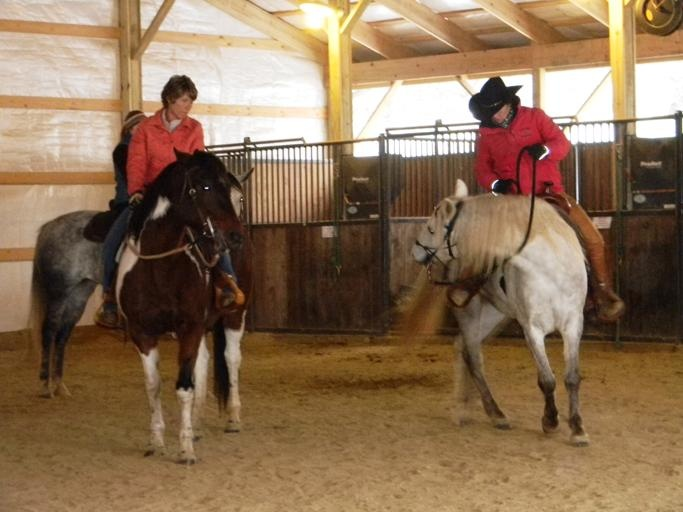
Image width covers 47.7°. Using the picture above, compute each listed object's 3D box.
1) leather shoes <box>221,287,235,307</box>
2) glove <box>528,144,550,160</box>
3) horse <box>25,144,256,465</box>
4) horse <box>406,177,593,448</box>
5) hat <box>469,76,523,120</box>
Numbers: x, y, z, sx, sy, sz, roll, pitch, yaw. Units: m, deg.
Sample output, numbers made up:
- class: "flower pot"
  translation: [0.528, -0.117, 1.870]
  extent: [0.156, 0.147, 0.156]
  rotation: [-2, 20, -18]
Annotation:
- class: "leather shoes"
  translation: [-0.982, 0.356, 6.643]
  extent: [0.129, 0.136, 0.050]
  rotation: [-2, 2, 34]
- class: "glove"
  translation: [1.817, -0.947, 7.021]
  extent: [0.154, 0.140, 0.275]
  rotation: [3, 7, 40]
- class: "horse"
  translation: [-2.078, 0.326, 7.846]
  extent: [1.379, 2.594, 4.182]
  rotation: [-5, 6, -42]
- class: "horse"
  translation: [1.553, 0.424, 7.117]
  extent: [0.702, 2.467, 2.425]
  rotation: [9, -9, -30]
- class: "hat"
  translation: [1.431, -1.463, 7.185]
  extent: [0.473, 0.421, 0.243]
  rotation: [0, 4, 11]
